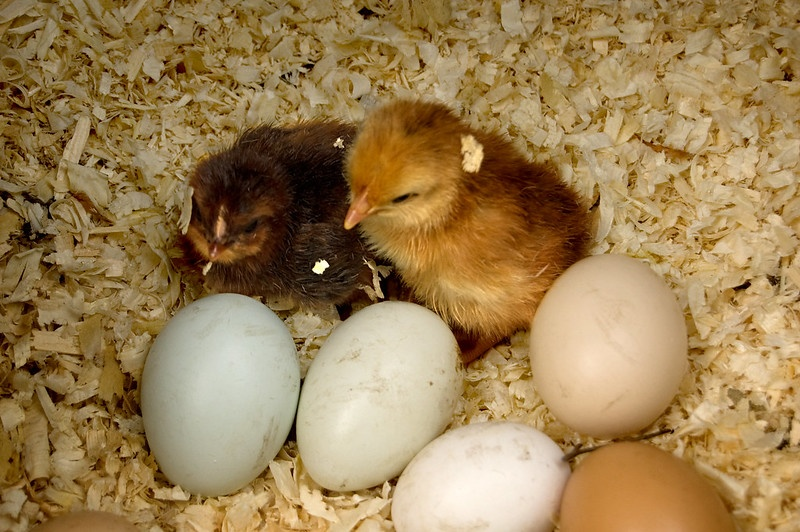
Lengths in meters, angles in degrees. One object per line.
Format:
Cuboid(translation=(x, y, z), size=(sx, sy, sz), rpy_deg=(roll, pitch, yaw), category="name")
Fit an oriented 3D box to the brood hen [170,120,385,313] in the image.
Cuboid(translation=(-0.459, -0.134, 2.818), size=(0.498, 0.495, 0.776), rpy_deg=(15, 87, 5), category="brood hen")
